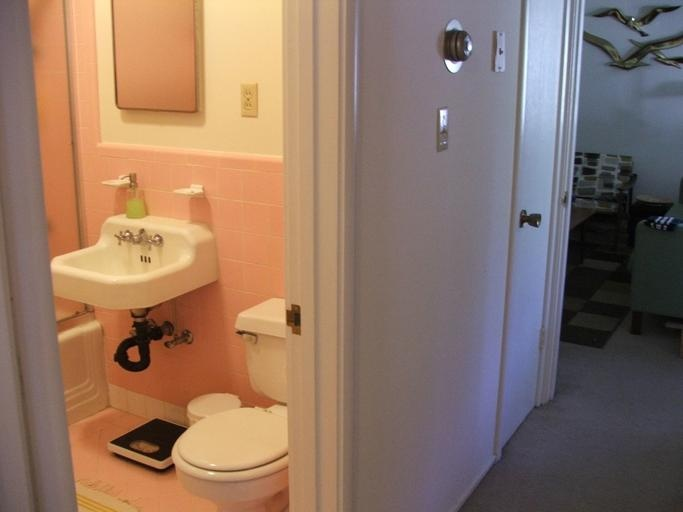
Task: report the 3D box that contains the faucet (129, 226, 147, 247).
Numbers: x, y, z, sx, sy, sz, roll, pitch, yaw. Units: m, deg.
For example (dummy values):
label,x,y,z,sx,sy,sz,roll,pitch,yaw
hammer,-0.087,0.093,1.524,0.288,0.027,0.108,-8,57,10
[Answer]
label,x,y,z,sx,sy,sz,roll,pitch,yaw
faucet,-0.957,-0.094,2.745,0.072,0.130,0.068,6,9,26

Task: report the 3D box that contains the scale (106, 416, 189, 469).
label,x,y,z,sx,sy,sz,roll,pitch,yaw
scale,-0.935,0.954,2.899,0.340,0.066,0.357,13,11,24

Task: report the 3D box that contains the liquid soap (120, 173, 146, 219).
label,x,y,z,sx,sy,sz,roll,pitch,yaw
liquid soap,-1.028,-0.297,2.817,0.140,0.213,0.089,7,18,29

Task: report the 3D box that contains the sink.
label,x,y,z,sx,sy,sz,roll,pitch,yaw
sink,-0.916,0.039,2.607,0.622,0.291,0.498,8,19,31
